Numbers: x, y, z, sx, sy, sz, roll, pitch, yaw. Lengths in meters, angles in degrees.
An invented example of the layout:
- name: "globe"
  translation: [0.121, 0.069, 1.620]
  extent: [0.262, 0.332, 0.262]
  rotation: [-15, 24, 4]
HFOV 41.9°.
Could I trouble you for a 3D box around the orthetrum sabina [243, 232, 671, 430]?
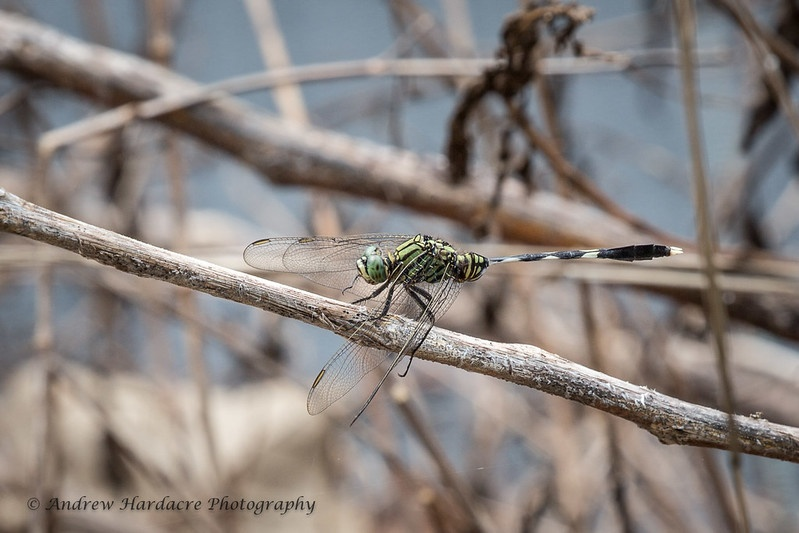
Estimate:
- name: "orthetrum sabina"
  translation: [0.075, 0.149, 2.594]
  extent: [0.912, 0.516, 0.320]
  rotation: [4, 15, -17]
